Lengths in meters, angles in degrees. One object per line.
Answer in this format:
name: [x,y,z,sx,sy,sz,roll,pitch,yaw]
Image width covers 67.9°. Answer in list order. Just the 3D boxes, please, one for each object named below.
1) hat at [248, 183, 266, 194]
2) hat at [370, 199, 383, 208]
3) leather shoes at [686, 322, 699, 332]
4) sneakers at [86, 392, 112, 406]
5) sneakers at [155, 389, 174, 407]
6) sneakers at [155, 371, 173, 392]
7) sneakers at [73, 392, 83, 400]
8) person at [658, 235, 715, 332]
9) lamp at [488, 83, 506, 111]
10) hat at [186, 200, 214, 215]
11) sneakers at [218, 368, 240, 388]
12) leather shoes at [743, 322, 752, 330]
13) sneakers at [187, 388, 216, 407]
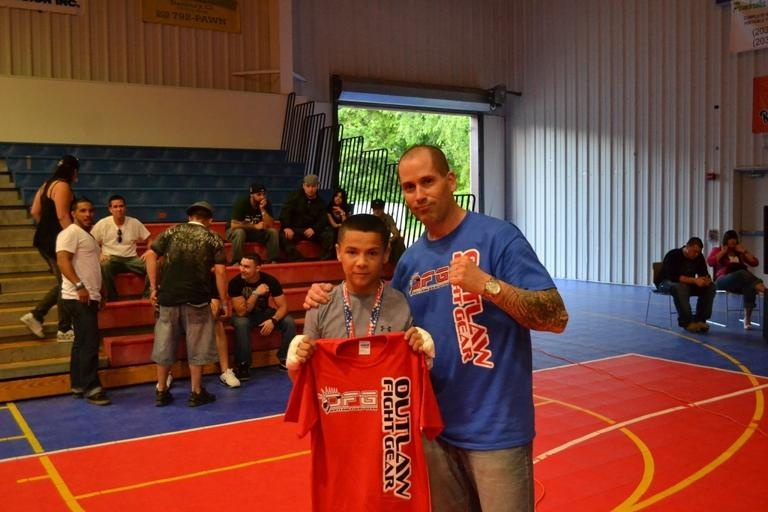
hat: [-2.367,-1.244,10.590,0.255,0.208,0.329,-10,14,-39]
hat: [-0.135,-1.113,12.107,0.190,0.124,0.201,0,-1,0]
leather shoes: [5.895,1.336,10.809,0.238,0.175,0.130,2,9,4]
sneakers: [-3.893,1.935,7.801,0.358,0.174,0.153,-3,-4,25]
sneakers: [-3.003,1.913,7.782,0.119,0.146,0.325,-1,6,1]
sneakers: [-3.131,1.764,7.997,0.205,0.286,0.638,2,-16,-12]
sneakers: [-4.314,1.955,8.021,0.088,0.075,0.108,3,-6,-38]
person: [6.061,0.509,11.246,0.876,1.683,1.196,0,9,-6]
lamp: [4.041,-5.531,19.901,0.623,0.954,0.817,7,11,37]
hat: [-2.601,-0.653,8.034,0.324,0.207,0.241,-3,11,-24]
sneakers: [-2.284,1.803,8.453,0.363,0.201,0.198,4,10,18]
leather shoes: [7.083,1.359,11.084,0.101,0.138,0.320,-3,-10,8]
sneakers: [-2.486,1.917,7.789,0.157,0.192,0.398,0,1,27]
